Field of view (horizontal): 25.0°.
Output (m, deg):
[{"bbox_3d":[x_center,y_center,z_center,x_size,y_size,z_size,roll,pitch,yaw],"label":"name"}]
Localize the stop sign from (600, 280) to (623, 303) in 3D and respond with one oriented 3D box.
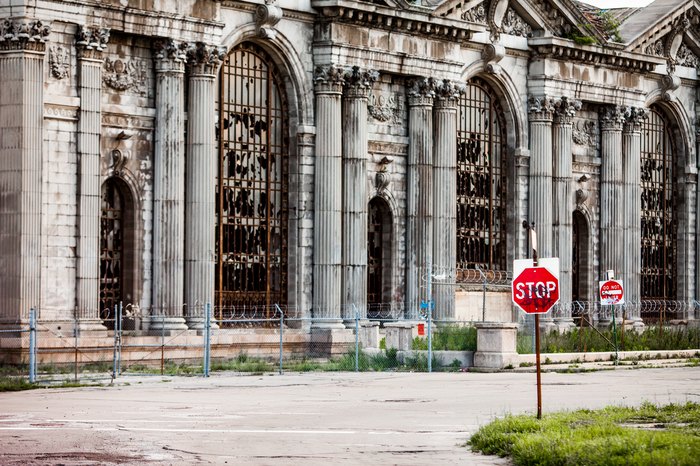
[{"bbox_3d":[11.301,2.480,67.957,1.032,1.147,0.113,0,-1,37],"label":"stop sign"}]
